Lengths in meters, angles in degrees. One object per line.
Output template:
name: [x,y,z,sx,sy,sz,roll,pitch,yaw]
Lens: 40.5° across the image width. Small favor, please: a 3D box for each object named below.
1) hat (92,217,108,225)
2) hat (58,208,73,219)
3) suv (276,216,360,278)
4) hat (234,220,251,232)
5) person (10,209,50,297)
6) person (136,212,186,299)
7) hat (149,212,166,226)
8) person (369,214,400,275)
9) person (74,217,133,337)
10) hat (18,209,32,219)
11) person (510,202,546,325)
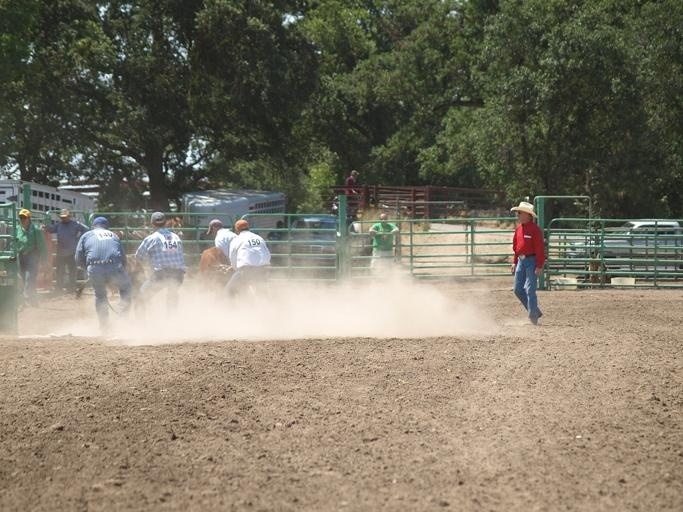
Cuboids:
hat: [-5.310,-0.793,20.373,0.289,0.238,0.310,5,0,-2]
hat: [-6.859,-1.072,23.034,0.244,0.200,0.342,2,-6,-5]
suv: [-0.750,-0.406,26.284,2.604,1.721,5.763,-1,5,-5]
hat: [-2.157,-0.677,20.179,0.210,0.331,0.304,2,-2,16]
person: [-7.416,-0.046,22.258,0.637,2.199,0.544,-2,4,-19]
person: [-3.781,0.014,19.430,0.954,1.844,0.386,-2,4,-14]
hat: [-3.865,-0.828,19.563,0.273,0.369,0.362,4,-36,-6]
person: [1.179,-0.358,24.999,0.794,1.558,1.032,-1,4,3]
person: [-4.916,0.359,19.244,1.060,2.296,0.523,-2,4,-17]
hat: [-7.565,-1.048,22.137,0.202,0.163,0.302,2,-24,-1]
person: [3.992,0.136,19.754,0.661,2.564,0.863,0,4,12]
